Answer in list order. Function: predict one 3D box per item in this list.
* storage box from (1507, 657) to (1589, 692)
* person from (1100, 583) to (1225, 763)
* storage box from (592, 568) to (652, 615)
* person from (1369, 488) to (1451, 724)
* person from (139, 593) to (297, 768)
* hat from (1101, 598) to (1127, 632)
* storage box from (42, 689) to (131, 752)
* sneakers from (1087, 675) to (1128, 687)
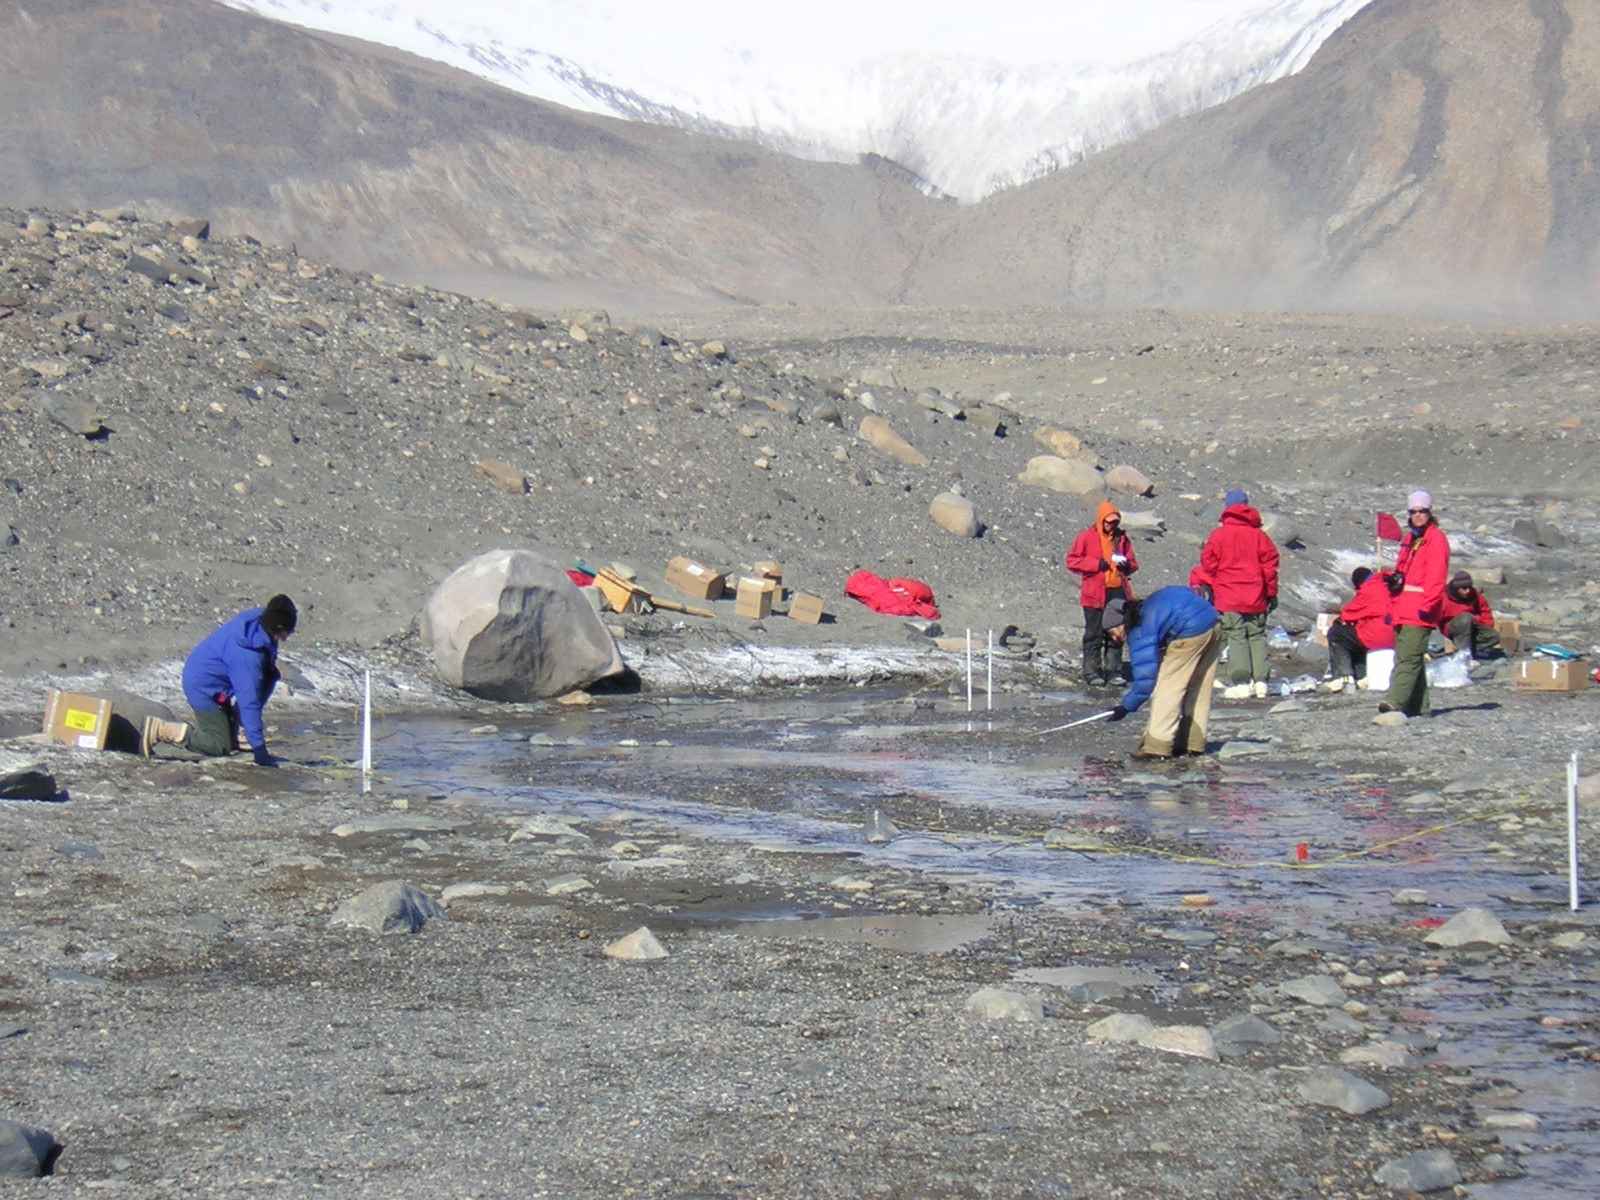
[{"bbox_3d":[7.039,0.706,18.299,0.689,0.279,0.624,2,8,20],"label":"storage box"},{"bbox_3d":[2.867,0.587,15.177,0.743,1.378,0.819,1,10,14],"label":"person"},{"bbox_3d":[-1.978,-0.095,21.840,0.783,0.407,0.513,23,5,-5],"label":"storage box"},{"bbox_3d":[5.076,0.072,16.128,0.494,1.902,1.173,1,10,16],"label":"person"},{"bbox_3d":[-4.240,0.602,14.417,1.141,1.280,0.736,5,12,36],"label":"person"},{"bbox_3d":[3.232,0.160,20.526,0.285,0.281,0.299,5,26,0],"label":"hat"},{"bbox_3d":[-5.323,0.896,14.561,0.602,0.278,0.529,14,2,12],"label":"storage box"},{"bbox_3d":[3.333,0.876,21.118,0.441,0.132,0.136,-1,1,-8],"label":"sneakers"}]
